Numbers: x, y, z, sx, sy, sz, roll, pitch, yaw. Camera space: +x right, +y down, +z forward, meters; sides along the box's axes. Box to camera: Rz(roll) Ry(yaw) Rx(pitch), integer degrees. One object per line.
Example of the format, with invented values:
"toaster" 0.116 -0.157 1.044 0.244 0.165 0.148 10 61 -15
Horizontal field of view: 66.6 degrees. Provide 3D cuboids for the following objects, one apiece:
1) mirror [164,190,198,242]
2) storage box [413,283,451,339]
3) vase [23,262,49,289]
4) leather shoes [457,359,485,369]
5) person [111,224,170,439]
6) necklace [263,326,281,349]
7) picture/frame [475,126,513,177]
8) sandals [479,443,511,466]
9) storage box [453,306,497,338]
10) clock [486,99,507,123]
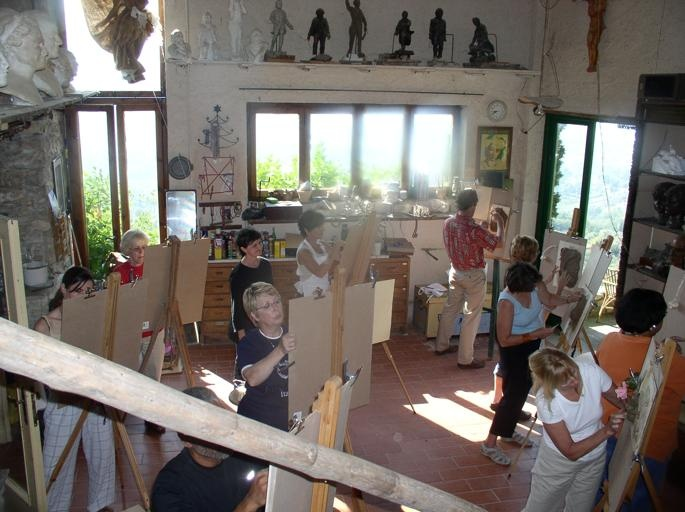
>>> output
"mirror" -2.315 -0.530 7.510 0.436 0.840 0.059 -3 -7 -14
"storage box" 1.426 0.807 7.662 0.681 0.671 0.514 -7 18 -24
"vase" -3.779 0.234 6.393 0.242 0.294 0.270 9 14 30
"leather shoes" 1.650 1.372 6.641 0.364 0.149 0.125 1 3 -15
"person" -2.027 0.577 5.157 0.668 1.546 0.606 0 -22 -32
"necklace" -0.456 0.554 3.506 0.096 0.139 0.034 -2 -27 -10
"picture/frame" 2.339 -1.665 8.079 0.750 1.038 0.078 0 11 -4
"sandals" 1.407 1.826 4.848 0.279 0.115 0.146 13 17 36
"storage box" 1.923 0.952 7.319 0.462 0.293 0.459 -2 6 -2
"clock" 2.359 -2.223 7.924 0.283 0.296 0.067 1 11 -2
